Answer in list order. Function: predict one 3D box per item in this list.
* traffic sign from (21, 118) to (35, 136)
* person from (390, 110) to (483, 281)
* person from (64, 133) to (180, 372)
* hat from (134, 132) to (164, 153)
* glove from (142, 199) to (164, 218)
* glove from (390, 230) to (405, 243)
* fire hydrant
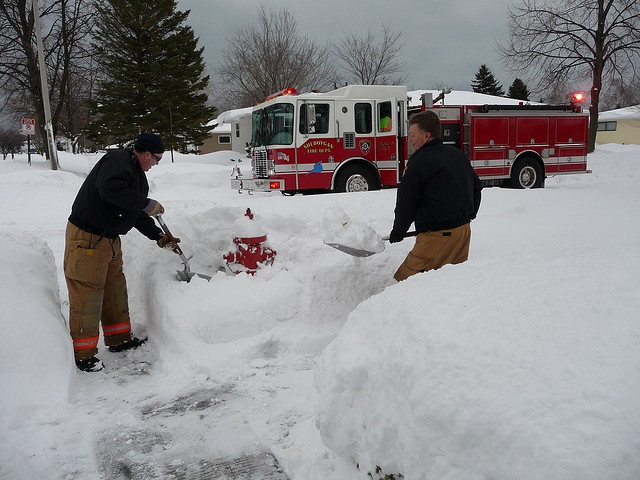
[{"bbox_3d":[-10.917,-4.232,18.045,0.338,0.565,1.180,-9,14,-26],"label":"traffic sign"},{"bbox_3d":[1.079,-0.403,4.536,0.840,1.563,0.500,-2,12,6],"label":"person"},{"bbox_3d":[-2.085,0.081,4.935,1.092,2.244,0.747,-11,14,-33],"label":"person"},{"bbox_3d":[-1.751,-0.974,4.959,0.264,0.171,0.195,-3,27,-29],"label":"hat"},{"bbox_3d":[-1.734,-0.333,5.096,0.185,0.145,0.068,36,22,13],"label":"glove"},{"bbox_3d":[0.730,-0.030,4.514,0.122,0.049,0.093,-23,17,8],"label":"glove"},{"bbox_3d":[-0.846,0.058,5.724,0.638,0.835,0.402,-4,7,-22],"label":"fire hydrant"}]
